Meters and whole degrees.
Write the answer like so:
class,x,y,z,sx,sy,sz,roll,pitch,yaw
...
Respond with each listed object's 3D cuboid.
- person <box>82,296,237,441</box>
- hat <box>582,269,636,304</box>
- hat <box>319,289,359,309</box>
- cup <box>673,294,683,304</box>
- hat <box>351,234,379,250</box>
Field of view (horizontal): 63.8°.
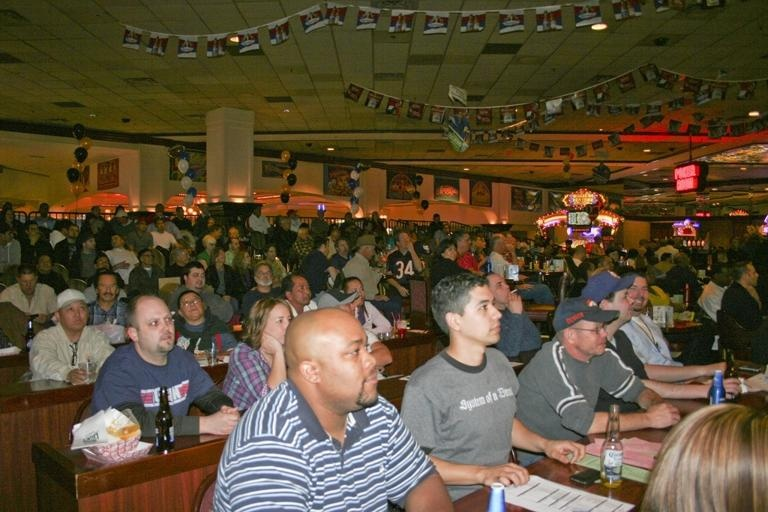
class,x,y,z,sx,sy,sz,roll,pitch,yaw
person,-2.100,1.012,6.141,1.583,1.184,1.219,2,3,28
hat,2.209,0.309,6.206,0.533,0.183,0.314,-18,16,0
hat,-0.567,0.560,7.874,0.430,0.187,0.246,-1,-4,-20
cup,4.785,0.710,10.068,0.158,0.104,0.146,0,3,0
hat,-0.309,-0.234,11.150,0.314,0.231,0.408,0,2,-8
